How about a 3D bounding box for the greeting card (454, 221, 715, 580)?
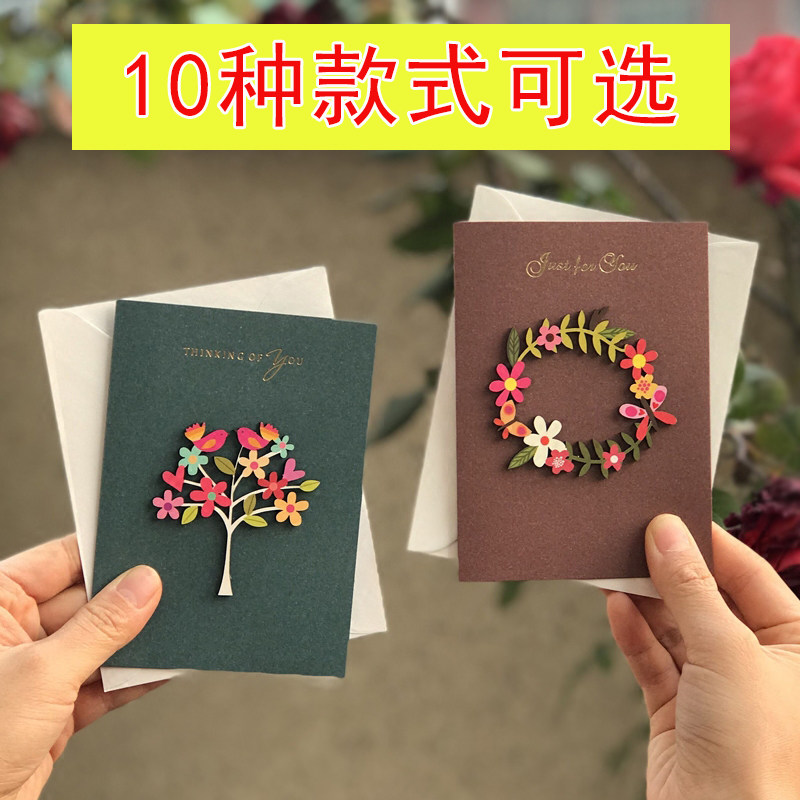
[{"bbox_3d":[0.186,0.015,0.954,0.317,0.038,0.479,-1,89,1],"label":"greeting card"}]
